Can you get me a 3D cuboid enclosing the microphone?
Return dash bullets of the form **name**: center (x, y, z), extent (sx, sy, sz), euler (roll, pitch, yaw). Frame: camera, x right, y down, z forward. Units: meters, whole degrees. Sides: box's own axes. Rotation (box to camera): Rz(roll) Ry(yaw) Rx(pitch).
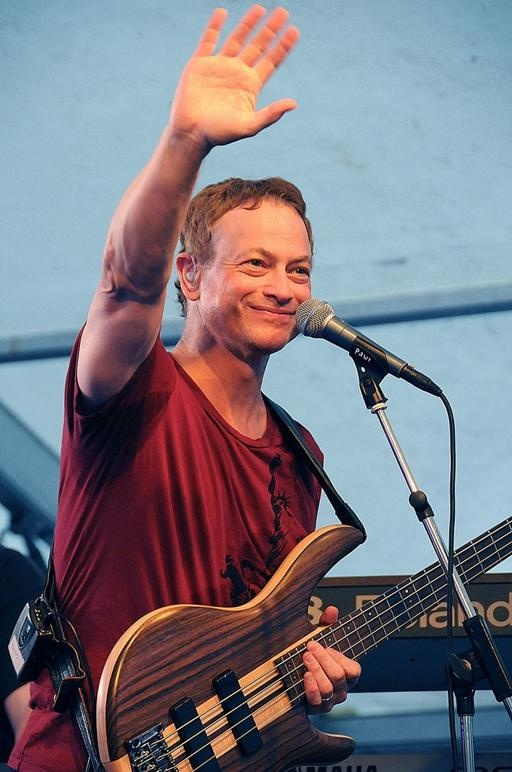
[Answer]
- **microphone**: center (0.275, -0.091, 3.044), extent (0.374, 0.252, 0.111), euler (-10, 4, 43)
